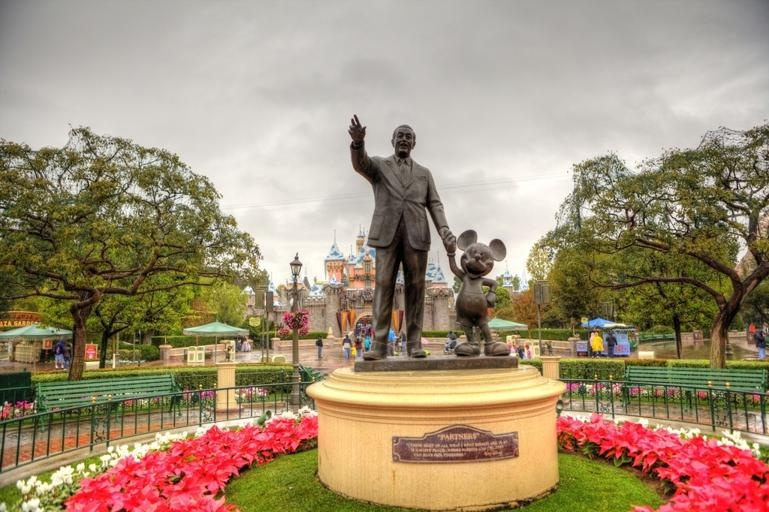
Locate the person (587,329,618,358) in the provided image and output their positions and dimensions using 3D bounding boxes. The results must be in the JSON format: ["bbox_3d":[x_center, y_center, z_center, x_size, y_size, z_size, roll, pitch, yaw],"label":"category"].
[{"bbox_3d":[12.899,5.222,32.621,1.525,1.536,0.840,2,-7,-17],"label":"person"}]

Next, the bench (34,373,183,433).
[{"bbox_3d":[-7.958,3.862,15.724,3.196,0.677,0.695,1,-2,-31],"label":"bench"}]
